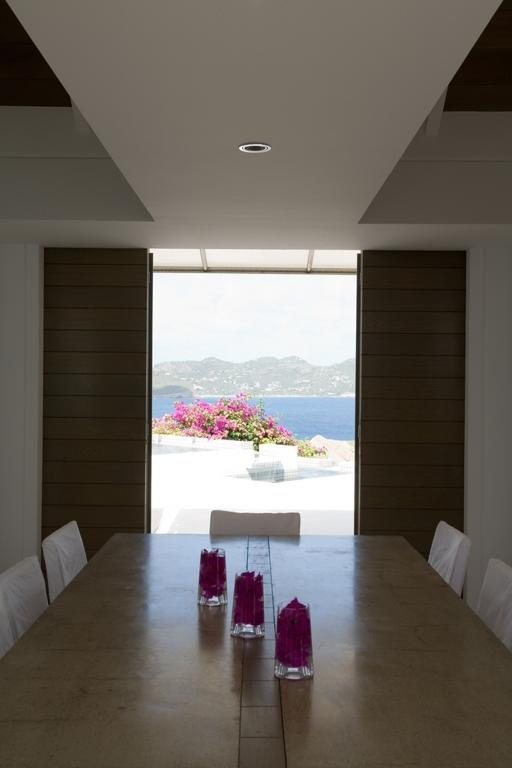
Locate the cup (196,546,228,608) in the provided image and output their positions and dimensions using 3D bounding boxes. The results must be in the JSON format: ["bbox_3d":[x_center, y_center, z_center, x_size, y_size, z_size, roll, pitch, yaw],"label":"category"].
[{"bbox_3d":[-0.121,0.549,1.576,0.079,0.149,0.086,1,0,0],"label":"cup"}]

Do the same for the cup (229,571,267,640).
[{"bbox_3d":[-0.015,0.543,1.357,0.084,0.151,0.093,1,-7,5],"label":"cup"}]

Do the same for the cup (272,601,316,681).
[{"bbox_3d":[0.070,0.516,1.124,0.090,0.162,0.091,-1,-3,0],"label":"cup"}]
